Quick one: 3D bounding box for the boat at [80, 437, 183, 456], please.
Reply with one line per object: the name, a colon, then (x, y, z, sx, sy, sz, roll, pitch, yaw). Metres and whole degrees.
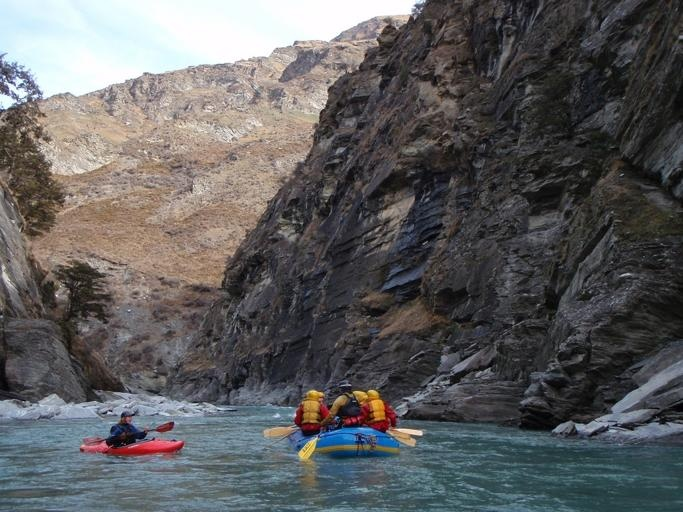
boat: (-6.922, 6.268, 24.414, 3.672, 0.360, 0.875, -2, -6, 4)

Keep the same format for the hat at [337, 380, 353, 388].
hat: (0.074, 4.199, 24.792, 0.528, 0.154, 0.547, 1, -13, -7)
